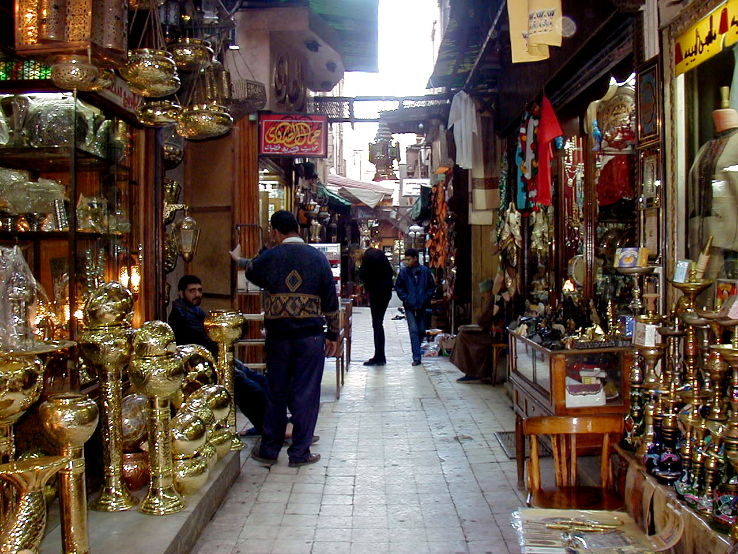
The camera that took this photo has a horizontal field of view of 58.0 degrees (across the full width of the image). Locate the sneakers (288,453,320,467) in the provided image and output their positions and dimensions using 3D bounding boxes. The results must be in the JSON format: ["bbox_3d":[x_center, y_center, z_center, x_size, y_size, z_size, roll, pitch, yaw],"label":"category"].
[{"bbox_3d":[-0.532,1.522,5.535,0.195,0.080,0.102,-6,3,-16],"label":"sneakers"}]

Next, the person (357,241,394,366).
[{"bbox_3d":[0.140,0.431,10.204,0.482,1.775,1.029,-1,4,0],"label":"person"}]

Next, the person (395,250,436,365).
[{"bbox_3d":[0.685,0.439,10.105,0.588,1.706,0.653,0,4,9],"label":"person"}]

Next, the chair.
[{"bbox_3d":[1.197,1.097,4.007,0.495,0.786,0.546,-1,-9,8],"label":"chair"}]

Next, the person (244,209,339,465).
[{"bbox_3d":[-0.703,0.547,5.800,0.785,2.189,0.576,4,7,11],"label":"person"}]

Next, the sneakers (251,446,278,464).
[{"bbox_3d":[-0.892,1.516,5.640,0.246,0.120,0.111,8,2,36],"label":"sneakers"}]

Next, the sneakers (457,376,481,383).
[{"bbox_3d":[1.284,1.326,8.573,0.299,0.137,0.110,4,-3,5],"label":"sneakers"}]

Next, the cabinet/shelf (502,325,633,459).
[{"bbox_3d":[1.503,0.817,5.130,0.551,0.774,1.025,-2,5,-4],"label":"cabinet/shelf"}]
